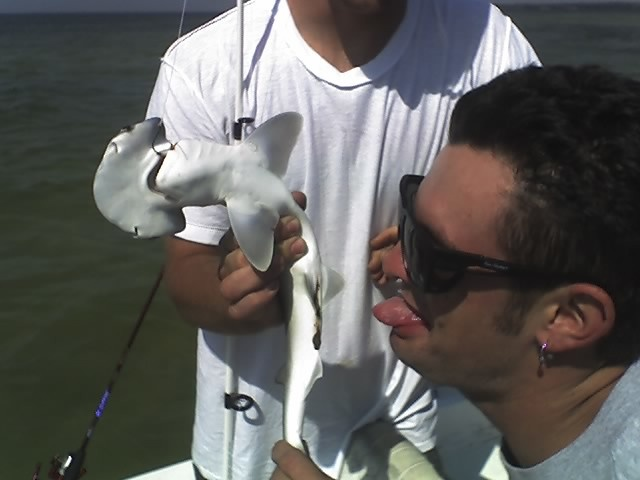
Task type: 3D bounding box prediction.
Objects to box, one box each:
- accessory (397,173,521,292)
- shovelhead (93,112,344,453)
[{"bbox_3d":[0.463,0.005,2.798,0.416,0.136,0.418,9,29,-23],"label":"accessory"},{"bbox_3d":[-0.335,0.089,2.855,0.469,1.196,0.849,-15,51,26],"label":"shovelhead"}]
